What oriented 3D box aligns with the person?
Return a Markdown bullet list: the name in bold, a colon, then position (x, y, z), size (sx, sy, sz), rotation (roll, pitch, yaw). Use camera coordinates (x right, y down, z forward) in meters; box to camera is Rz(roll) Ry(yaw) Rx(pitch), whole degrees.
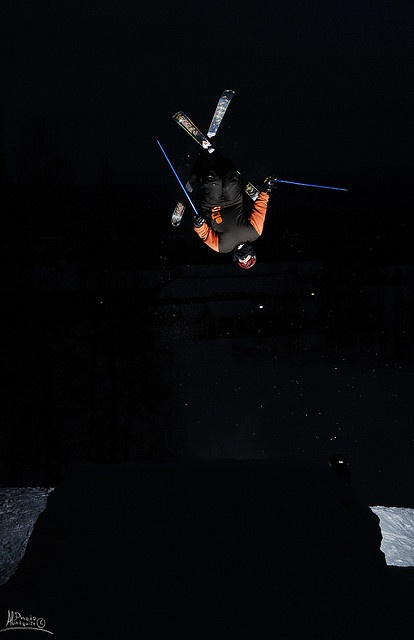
- **person**: position (0.228, -1.041, 5.723), size (0.959, 0.330, 1.347), rotation (-15, -17, 15)
